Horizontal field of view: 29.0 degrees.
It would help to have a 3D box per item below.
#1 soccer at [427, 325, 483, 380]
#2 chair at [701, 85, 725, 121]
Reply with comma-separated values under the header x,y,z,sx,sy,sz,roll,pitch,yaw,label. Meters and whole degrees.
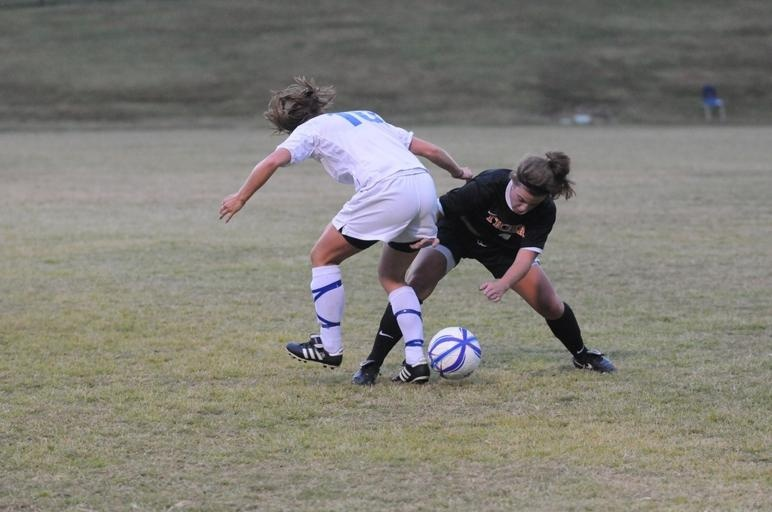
x,y,z,sx,sy,sz,roll,pitch,yaw,label
1.206,1.672,26.133,1.000,0.847,0.898,-28,-13,-1,soccer
6.209,-2.863,28.500,0.359,0.686,0.195,-1,9,33,chair
